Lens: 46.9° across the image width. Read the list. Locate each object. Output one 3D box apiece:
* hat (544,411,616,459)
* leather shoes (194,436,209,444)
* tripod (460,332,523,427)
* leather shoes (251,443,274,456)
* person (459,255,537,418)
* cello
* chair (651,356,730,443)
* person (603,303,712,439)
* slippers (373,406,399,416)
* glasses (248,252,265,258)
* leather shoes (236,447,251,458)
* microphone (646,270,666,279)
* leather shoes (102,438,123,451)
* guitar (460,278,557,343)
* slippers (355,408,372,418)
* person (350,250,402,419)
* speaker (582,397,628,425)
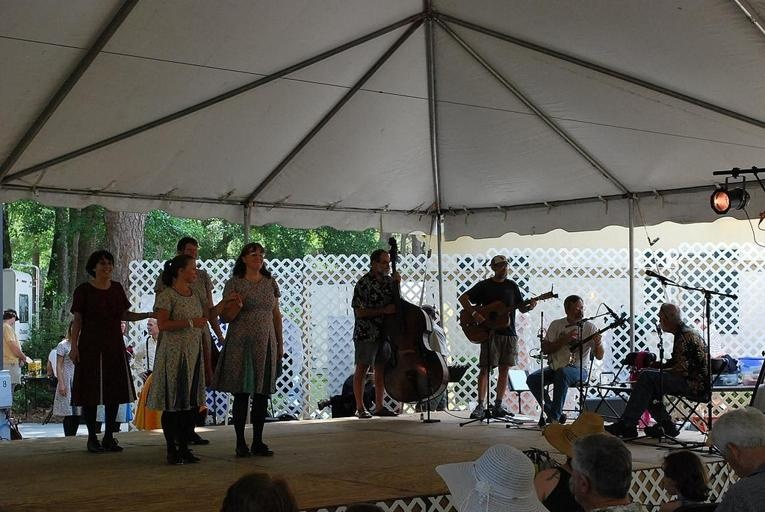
[{"bbox_3d":[1.607,1.492,7.555,0.436,0.195,0.493,12,12,-31],"label":"hat"},{"bbox_3d":[-1.860,1.911,9.071,0.172,0.076,0.058,1,-6,-18],"label":"leather shoes"},{"bbox_3d":[1.369,1.512,10.804,0.544,1.070,0.553,2,2,-3],"label":"tripod"},{"bbox_3d":[-1.132,1.835,8.356,0.211,0.110,0.165,1,0,-7],"label":"leather shoes"},{"bbox_3d":[1.398,0.937,10.717,0.886,2.048,0.740,1,0,-3],"label":"person"},{"bbox_3d":[0.506,0.781,10.229,0.708,1.880,0.589,18,24,38],"label":"cello"},{"bbox_3d":[3.399,1.589,9.816,0.904,1.378,0.845,1,-3,17],"label":"chair"},{"bbox_3d":[2.991,1.285,9.636,1.058,1.564,0.996,2,-2,29],"label":"person"},{"bbox_3d":[0.029,1.969,11.108,0.355,0.143,0.120,1,-6,-8],"label":"slippers"},{"bbox_3d":[-1.176,-0.002,8.450,0.116,0.043,0.334,0,0,5],"label":"glasses"},{"bbox_3d":[-1.306,1.843,8.288,0.140,0.095,0.126,0,0,-2],"label":"leather shoes"},{"bbox_3d":[2.939,0.213,9.504,0.203,0.059,0.145,24,-1,-30],"label":"microphone"},{"bbox_3d":[-2.658,1.881,8.747,0.246,0.107,0.093,1,-8,25],"label":"leather shoes"},{"bbox_3d":[1.476,0.644,10.695,1.226,0.617,0.174,-18,-6,16],"label":"guitar"},{"bbox_3d":[-0.251,1.955,10.887,0.089,0.074,0.184,7,-14,-34],"label":"slippers"},{"bbox_3d":[-0.039,0.926,10.517,0.735,2.006,0.620,2,-2,-43],"label":"person"},{"bbox_3d":[2.811,1.947,11.219,0.517,0.142,0.575,-2,-4,33],"label":"speaker"}]
